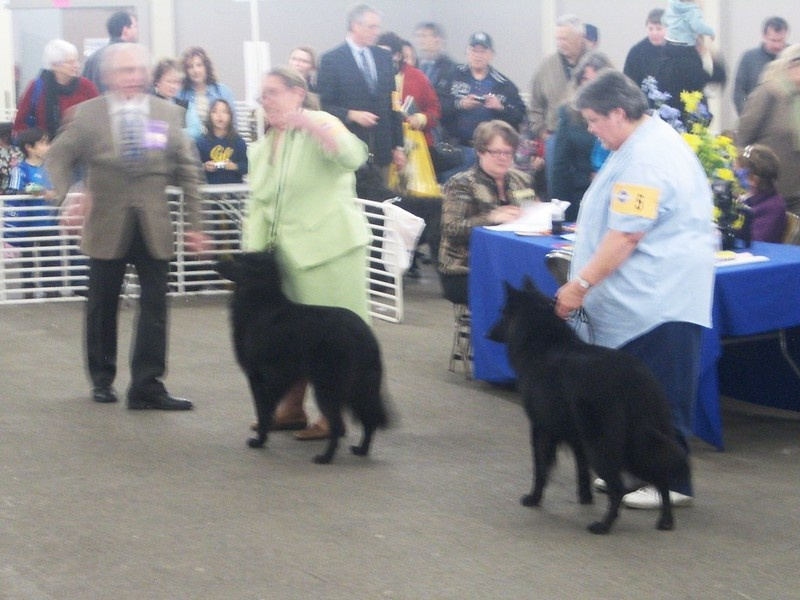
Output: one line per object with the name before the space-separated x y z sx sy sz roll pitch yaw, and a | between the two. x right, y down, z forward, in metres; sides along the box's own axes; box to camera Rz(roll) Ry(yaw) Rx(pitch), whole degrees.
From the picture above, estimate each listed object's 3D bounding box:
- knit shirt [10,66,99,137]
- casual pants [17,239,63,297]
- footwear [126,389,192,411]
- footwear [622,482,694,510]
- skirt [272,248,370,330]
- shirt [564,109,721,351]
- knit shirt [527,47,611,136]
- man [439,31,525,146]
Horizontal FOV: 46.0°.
knit shirt | -3.016 -1.727 8.411 0.795 0.617 0.401 3 33 -22
casual pants | -3.141 -0.275 8.296 0.536 0.469 0.512 -2 2 -17
footwear | -1.442 0.616 5.716 0.406 0.165 0.139 -1 -3 -1
footwear | 1.133 0.906 4.269 0.381 0.155 0.135 1 0 -4
skirt | -0.420 -0.059 4.769 0.325 0.372 0.219 -18 1 -27
shirt | 1.126 -0.365 4.324 0.626 0.901 1.006 0 15 18
knit shirt | 1.527 -1.844 8.301 0.812 0.701 0.430 -3 7 7
man | 0.756 -1.992 9.142 0.842 1.076 0.661 2 17 -5
